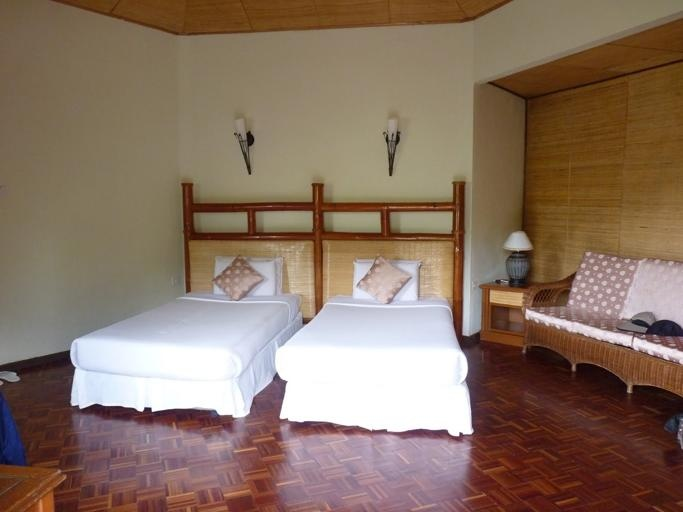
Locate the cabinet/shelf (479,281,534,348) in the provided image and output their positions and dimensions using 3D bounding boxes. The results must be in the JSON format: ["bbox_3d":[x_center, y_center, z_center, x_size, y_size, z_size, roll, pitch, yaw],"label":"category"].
[{"bbox_3d":[2.216,0.718,6.397,0.654,0.743,0.644,-3,-5,-5],"label":"cabinet/shelf"}]

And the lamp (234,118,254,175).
[{"bbox_3d":[-1.265,-1.461,6.413,0.258,0.749,0.260,0,6,-1],"label":"lamp"}]

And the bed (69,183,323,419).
[{"bbox_3d":[-1.538,0.322,5.847,1.895,2.201,2.897,0,4,13],"label":"bed"}]

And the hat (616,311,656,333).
[{"bbox_3d":[3.002,0.660,5.031,0.324,0.152,0.472,4,7,32],"label":"hat"}]

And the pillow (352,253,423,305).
[{"bbox_3d":[0.539,0.271,5.952,0.617,0.624,0.169,1,-4,8],"label":"pillow"}]

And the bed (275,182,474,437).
[{"bbox_3d":[0.448,0.400,5.404,1.915,2.153,2.633,0,11,7],"label":"bed"}]

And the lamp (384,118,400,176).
[{"bbox_3d":[0.637,-1.397,6.135,0.196,0.762,0.274,1,6,6],"label":"lamp"}]
